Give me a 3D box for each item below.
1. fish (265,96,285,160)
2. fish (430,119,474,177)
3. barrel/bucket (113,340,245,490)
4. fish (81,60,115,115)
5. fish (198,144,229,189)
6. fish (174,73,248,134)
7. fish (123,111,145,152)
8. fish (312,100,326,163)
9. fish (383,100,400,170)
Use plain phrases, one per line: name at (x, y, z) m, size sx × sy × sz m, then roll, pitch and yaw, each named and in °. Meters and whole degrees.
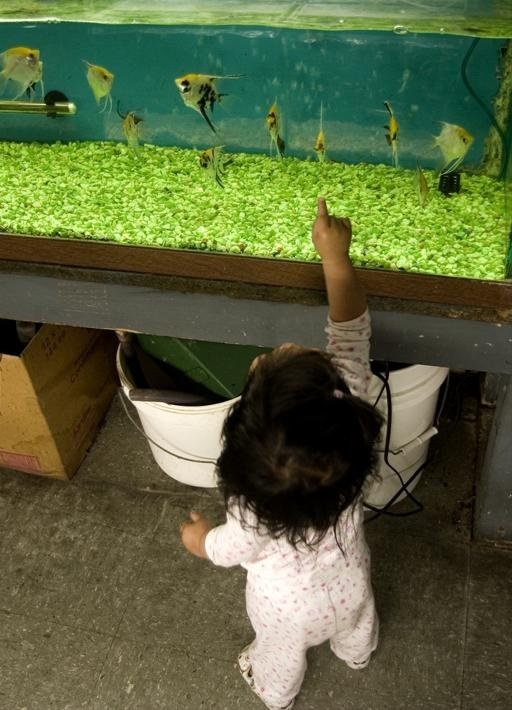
fish at (0.047, -0.540, 1.521) m, size 0.033 × 0.140 × 0.062 m, roll 7°, pitch 47°, yaw 17°
fish at (0.449, -0.470, 1.431) m, size 0.084 × 0.118 × 0.025 m, roll 20°, pitch 52°, yaw 26°
barrel/bucket at (-0.222, 0.172, 1.878) m, size 0.268 × 0.372 × 0.286 m, roll 3°, pitch 54°, yaw -5°
fish at (-0.374, -0.655, 1.519) m, size 0.031 × 0.084 × 0.133 m, roll -38°, pitch 55°, yaw -23°
fish at (-0.087, -0.476, 1.549) m, size 0.069 × 0.086 × 0.078 m, roll 27°, pitch 54°, yaw 31°
fish at (-0.108, -0.602, 1.490) m, size 0.139 × 0.086 × 0.075 m, roll -2°, pitch 42°, yaw -40°
fish at (-0.311, -0.578, 1.616) m, size 0.059 × 0.109 × 0.035 m, roll -7°, pitch 45°, yaw 2°
fish at (0.155, -0.535, 1.519) m, size 0.028 × 0.145 × 0.014 m, roll -5°, pitch 45°, yaw 5°
fish at (0.320, -0.518, 1.474) m, size 0.042 × 0.157 × 0.014 m, roll 21°, pitch 52°, yaw 27°
